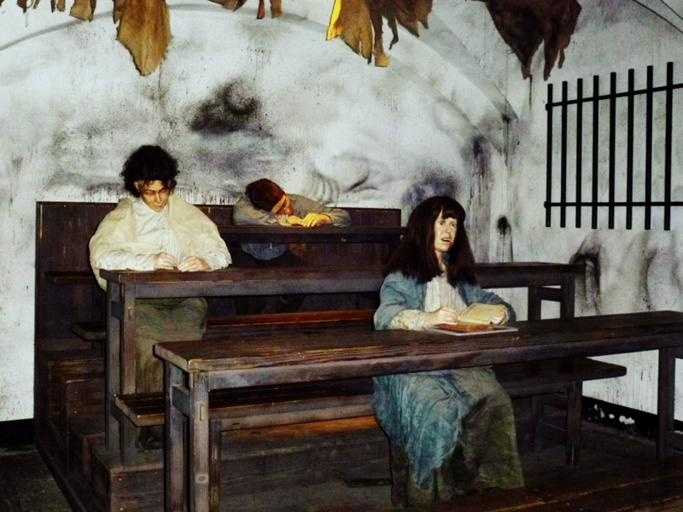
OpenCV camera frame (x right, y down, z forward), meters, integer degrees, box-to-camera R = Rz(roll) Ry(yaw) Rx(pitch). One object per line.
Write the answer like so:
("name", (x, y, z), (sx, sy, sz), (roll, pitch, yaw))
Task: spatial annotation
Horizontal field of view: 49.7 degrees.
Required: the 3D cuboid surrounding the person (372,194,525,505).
("person", (0.674, 0.569, 4.818), (0.944, 1.955, 0.782), (-2, 2, -7))
